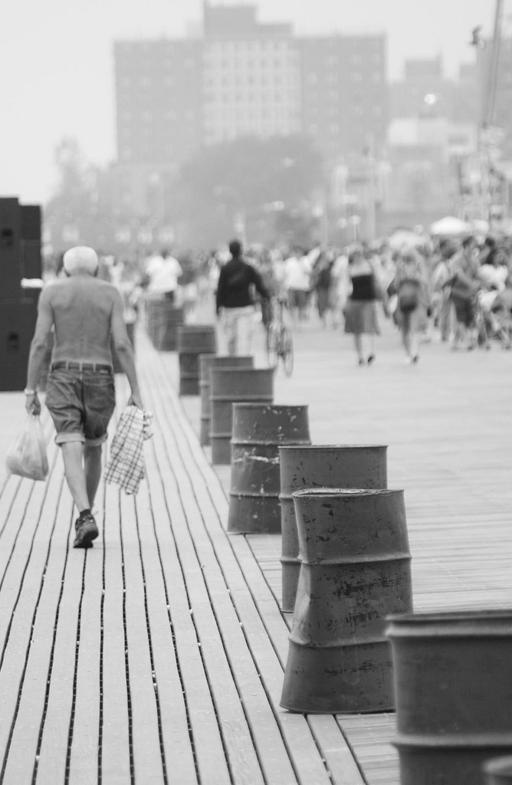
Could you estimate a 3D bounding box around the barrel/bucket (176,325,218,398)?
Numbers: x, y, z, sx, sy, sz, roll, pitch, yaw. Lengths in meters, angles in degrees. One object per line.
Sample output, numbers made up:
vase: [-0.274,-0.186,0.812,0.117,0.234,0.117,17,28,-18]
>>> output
barrel/bucket: [-0.843,-0.419,20.922,0.625,1.380,0.716,0,3,-3]

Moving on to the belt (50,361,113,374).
belt: [-0.965,-0.138,8.843,0.329,0.075,0.189,-3,7,-11]

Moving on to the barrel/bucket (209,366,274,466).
barrel/bucket: [-0.198,0.188,12.416,0.528,0.992,0.601,0,1,0]

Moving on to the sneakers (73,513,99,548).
sneakers: [-0.903,0.734,8.513,0.081,0.115,0.245,-12,-34,-19]

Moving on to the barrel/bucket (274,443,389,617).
barrel/bucket: [0.266,0.589,6.803,0.509,0.985,0.572,0,-3,0]

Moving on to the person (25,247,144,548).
person: [-0.961,0.012,8.867,0.653,1.600,1.007,-2,6,-5]

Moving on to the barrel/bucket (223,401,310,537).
barrel/bucket: [0.020,0.434,9.015,0.518,0.989,0.599,1,0,-1]
